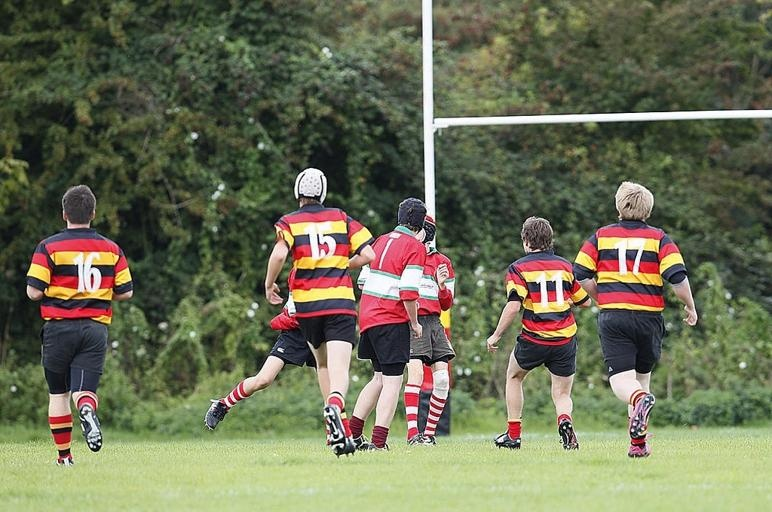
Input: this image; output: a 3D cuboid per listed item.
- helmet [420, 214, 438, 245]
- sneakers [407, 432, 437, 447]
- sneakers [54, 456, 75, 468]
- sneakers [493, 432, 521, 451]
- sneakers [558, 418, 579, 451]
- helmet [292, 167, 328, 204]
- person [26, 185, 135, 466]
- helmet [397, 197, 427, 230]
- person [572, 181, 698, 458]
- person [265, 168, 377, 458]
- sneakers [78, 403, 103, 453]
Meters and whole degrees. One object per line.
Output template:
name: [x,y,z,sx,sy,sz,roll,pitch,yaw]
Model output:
helmet: [0.585,-0.368,17.912,0.258,0.348,0.325,2,-8,4]
sneakers: [0.479,2.646,18.182,0.331,0.158,0.189,13,-13,-28]
sneakers: [-4.170,2.688,16.609,0.220,0.136,0.390,0,-6,-14]
sneakers: [1.657,2.583,17.619,0.394,0.247,0.157,6,1,15]
sneakers: [2.454,2.419,17.333,0.195,0.521,0.214,-18,9,-6]
helmet: [-1.017,-0.980,17.009,0.353,0.449,0.477,7,31,-5]
person: [-4.034,0.898,16.696,1.230,3.678,0.596,0,-6,-14]
helmet: [0.328,-0.522,17.501,0.385,0.496,0.473,6,-17,-24]
person: [3.223,0.818,16.883,1.441,3.691,0.789,-2,-6,9]
person: [-0.831,0.721,16.680,1.349,3.745,0.768,-1,-6,-1]
sneakers: [-3.812,2.241,16.458,0.244,0.716,0.297,-14,-7,-19]
